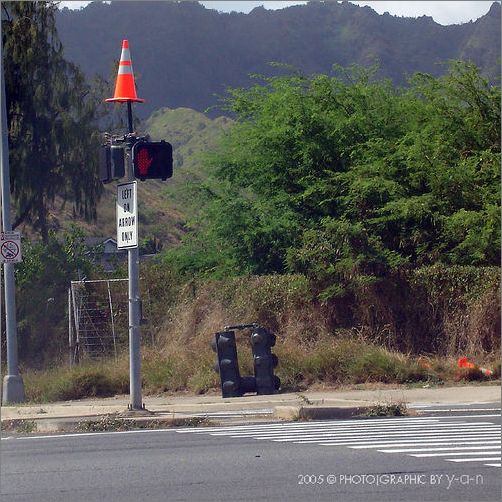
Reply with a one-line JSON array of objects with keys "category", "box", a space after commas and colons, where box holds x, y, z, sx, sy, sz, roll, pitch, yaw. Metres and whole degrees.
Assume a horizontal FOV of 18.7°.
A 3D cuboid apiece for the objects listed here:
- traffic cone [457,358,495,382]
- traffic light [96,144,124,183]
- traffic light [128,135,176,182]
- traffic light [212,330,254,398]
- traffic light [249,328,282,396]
[{"category": "traffic cone", "box": [5.358, 2.883, 36.760, 0.835, 0.445, 0.542, -2, 8, 8]}, {"category": "traffic light", "box": [-3.045, -1.922, 33.625, 0.568, 0.858, 0.495, -3, 7, -2]}, {"category": "traffic light", "box": [-2.122, -1.956, 33.325, 0.862, 0.896, 0.485, -4, 7, -7]}, {"category": "traffic light", "box": [-0.410, 2.662, 35.500, 0.870, 1.584, 0.458, -3, 6, -4]}, {"category": "traffic light", "box": [0.336, 2.584, 35.517, 0.594, 1.614, 0.303, -3, 6, -2]}]
